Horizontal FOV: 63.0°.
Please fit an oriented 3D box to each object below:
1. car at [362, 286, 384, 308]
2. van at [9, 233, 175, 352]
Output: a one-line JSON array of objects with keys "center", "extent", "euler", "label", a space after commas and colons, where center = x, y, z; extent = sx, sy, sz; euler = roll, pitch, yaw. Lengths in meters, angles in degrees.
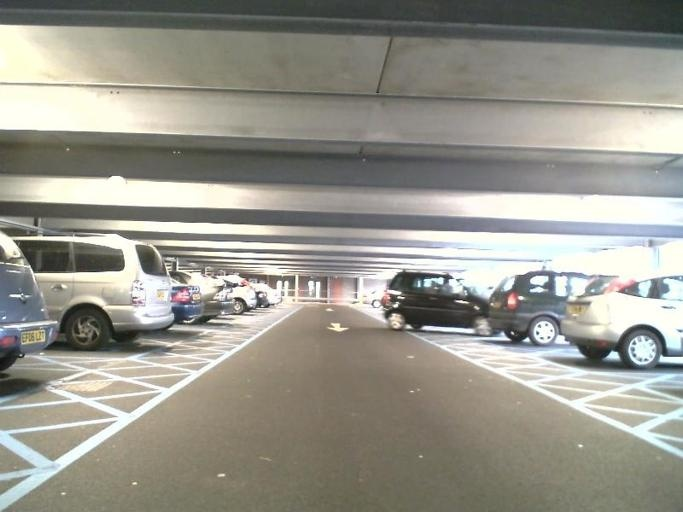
[{"center": [2.199, 3.855, 50.576], "extent": [3.343, 1.646, 2.028], "euler": [3, -4, 23], "label": "car"}, {"center": [-5.373, 0.730, 12.788], "extent": [3.615, 1.718, 2.001], "euler": [4, -4, -1], "label": "van"}]
